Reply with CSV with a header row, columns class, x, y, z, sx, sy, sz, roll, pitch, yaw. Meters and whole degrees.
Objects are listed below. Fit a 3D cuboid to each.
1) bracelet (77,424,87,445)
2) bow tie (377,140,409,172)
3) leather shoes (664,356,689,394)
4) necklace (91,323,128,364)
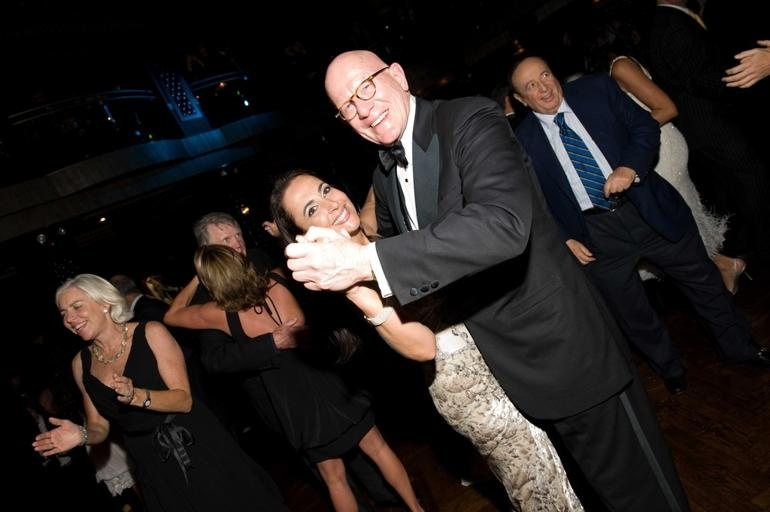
class,x,y,z,sx,sy,sz,roll,pitch,yaw
bracelet,-2.426,1.404,4.117,0.057,0.141,0.126,-12,-26,-26
bow tie,0.047,-0.686,3.489,0.185,0.189,0.081,-14,-16,21
leather shoes,2.529,1.064,4.494,0.155,0.336,0.135,-11,-37,35
necklace,-2.230,0.695,4.173,0.248,0.331,0.085,-3,-1,-2
